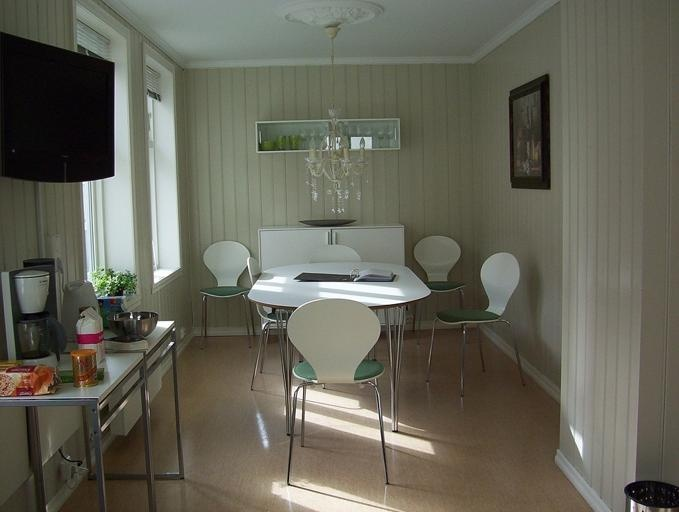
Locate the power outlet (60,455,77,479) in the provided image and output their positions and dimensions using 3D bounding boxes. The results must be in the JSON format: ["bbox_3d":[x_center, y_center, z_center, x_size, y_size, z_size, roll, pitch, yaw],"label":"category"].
[{"bbox_3d":[-1.549,1.197,2.976,0.097,0.120,0.106,0,7,-8],"label":"power outlet"}]

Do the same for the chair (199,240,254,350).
[{"bbox_3d":[-1.190,0.387,5.434,0.567,1.054,0.559,-3,10,-14],"label":"chair"}]

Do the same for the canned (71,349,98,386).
[{"bbox_3d":[-1.049,0.456,2.153,0.114,0.151,0.117,1,4,-13],"label":"canned"}]
